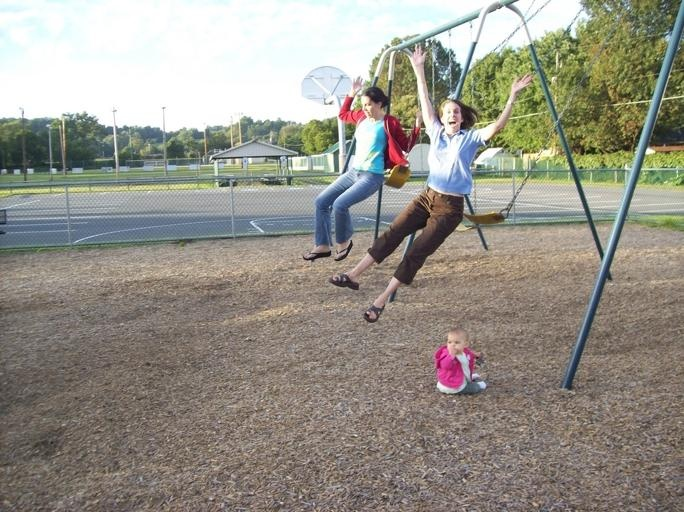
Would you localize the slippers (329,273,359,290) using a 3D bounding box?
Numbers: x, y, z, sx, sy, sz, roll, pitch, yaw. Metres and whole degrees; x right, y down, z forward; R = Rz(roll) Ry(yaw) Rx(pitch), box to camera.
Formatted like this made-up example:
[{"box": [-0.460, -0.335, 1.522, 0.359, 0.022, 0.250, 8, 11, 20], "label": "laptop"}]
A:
[{"box": [0.019, 0.267, 5.918, 0.297, 0.110, 0.153, 11, -4, -16], "label": "slippers"}]

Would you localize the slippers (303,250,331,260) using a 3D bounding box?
[{"box": [-0.292, -0.010, 6.780, 0.342, 0.088, 0.125, -1, 4, 1], "label": "slippers"}]
